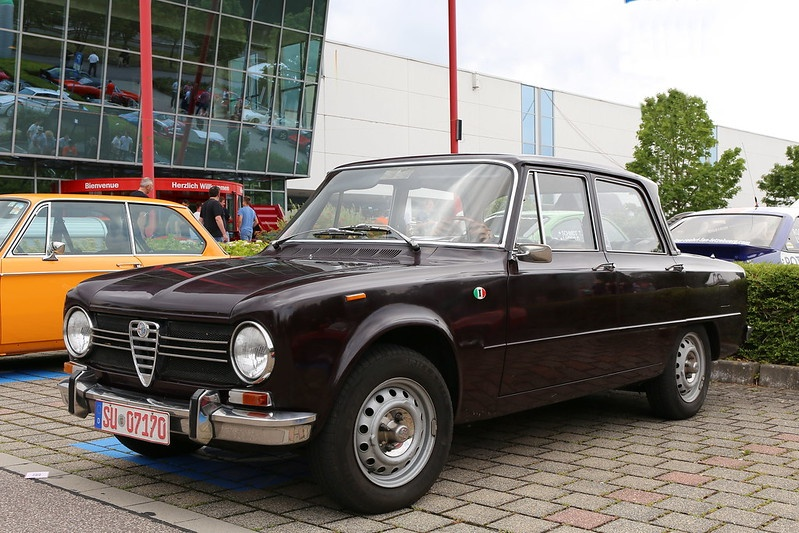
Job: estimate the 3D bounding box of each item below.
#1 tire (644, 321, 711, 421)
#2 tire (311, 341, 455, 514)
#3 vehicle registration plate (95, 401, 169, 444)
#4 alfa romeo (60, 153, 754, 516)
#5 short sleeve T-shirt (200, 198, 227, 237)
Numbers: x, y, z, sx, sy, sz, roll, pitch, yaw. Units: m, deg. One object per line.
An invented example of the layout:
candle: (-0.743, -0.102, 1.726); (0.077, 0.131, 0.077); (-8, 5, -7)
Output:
tire: (2.871, 1.063, 5.450); (1.154, 1.112, 0.474); (5, -6, -40)
tire: (-0.136, 1.023, 3.329); (0.988, 0.949, 0.345); (25, -17, -34)
vehicle registration plate: (-1.739, 0.978, 3.361); (0.795, 0.157, 0.032); (1, 0, 29)
alfa romeo: (0.628, 0.244, 4.813); (5.469, 1.767, 2.692); (1, -3, -38)
short sleeve T-shirt: (-5.119, -1.361, 14.155); (0.790, 0.755, 0.323); (-4, -4, 29)
